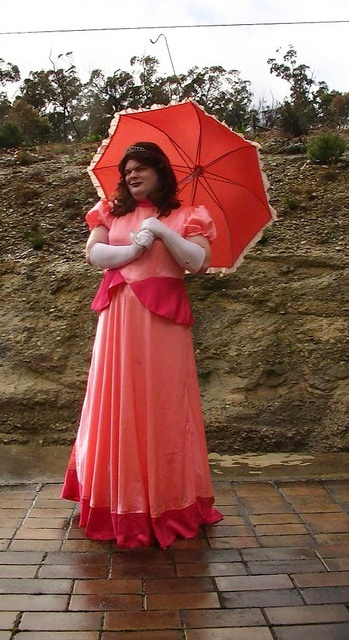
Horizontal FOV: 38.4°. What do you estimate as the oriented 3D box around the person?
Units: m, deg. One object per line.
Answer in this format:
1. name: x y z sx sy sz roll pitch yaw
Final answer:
1. person: -0.111 0.083 2.396 0.720 1.882 0.442 1 -1 -7
